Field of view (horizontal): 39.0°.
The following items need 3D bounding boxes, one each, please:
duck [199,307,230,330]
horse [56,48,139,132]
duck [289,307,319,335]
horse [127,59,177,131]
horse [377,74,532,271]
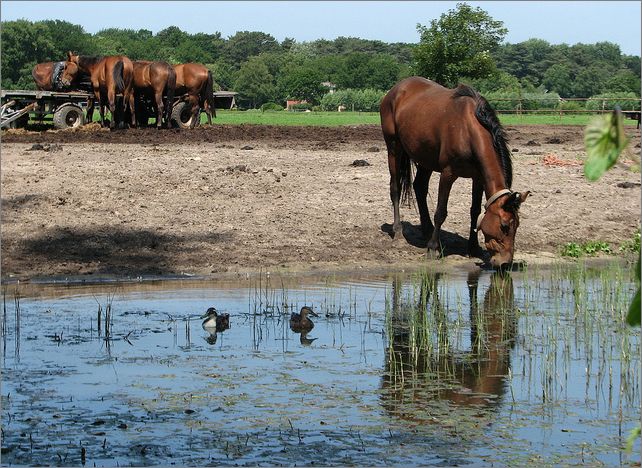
[{"bbox_3d":[-1.577,1.304,13.765,0.422,0.292,0.267,3,-1,-42],"label":"duck"},{"bbox_3d":[-8.387,-5.498,35.157,3.188,2.870,1.714,13,19,41],"label":"horse"},{"bbox_3d":[-0.280,1.269,13.871,0.385,0.312,0.583,0,14,-1],"label":"duck"},{"bbox_3d":[-6.512,-5.393,35.552,1.607,2.700,2.450,-2,15,-11],"label":"horse"},{"bbox_3d":[2.576,-1.318,17.904,1.301,3.429,5.420,-4,14,-19],"label":"horse"}]
